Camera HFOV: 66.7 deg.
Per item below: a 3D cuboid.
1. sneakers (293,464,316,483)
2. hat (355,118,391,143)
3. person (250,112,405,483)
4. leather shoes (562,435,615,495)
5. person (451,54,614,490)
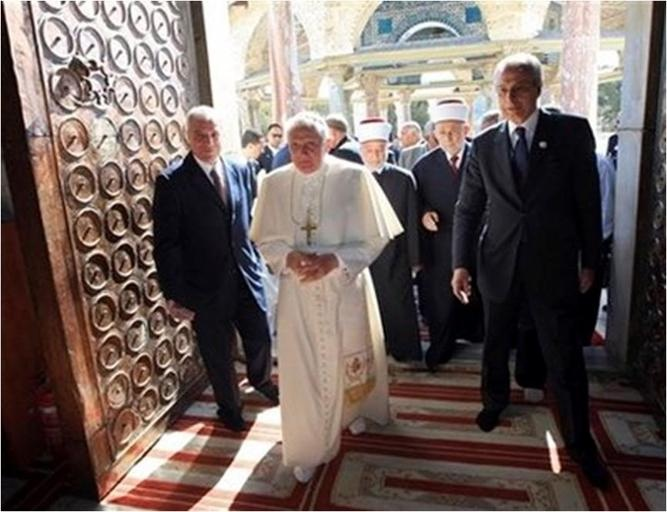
[{"bbox_3d":[-0.168,1.252,2.889,0.125,0.140,0.088,2,0,4],"label":"sneakers"},{"bbox_3d":[0.342,-1.041,4.267,0.219,0.146,0.259,-1,24,9],"label":"hat"},{"bbox_3d":[-0.013,0.241,3.132,0.882,2.059,0.707,-10,18,-20],"label":"person"},{"bbox_3d":[1.419,1.137,2.825,0.108,0.140,0.330,-29,23,18],"label":"leather shoes"},{"bbox_3d":[1.123,0.038,2.899,0.949,2.294,0.529,6,18,38],"label":"person"}]
